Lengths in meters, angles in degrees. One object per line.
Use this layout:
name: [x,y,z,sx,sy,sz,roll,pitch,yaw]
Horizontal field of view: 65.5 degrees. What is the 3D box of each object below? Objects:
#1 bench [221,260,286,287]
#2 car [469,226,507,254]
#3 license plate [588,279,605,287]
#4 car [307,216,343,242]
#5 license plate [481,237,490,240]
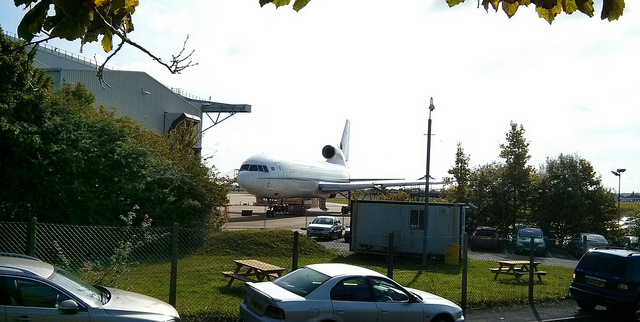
bench: [-3.185,5.389,24.007,1.888,0.848,1.791,2,-4,44]
car: [13.269,6.463,40.059,2.227,1.890,1.182,2,-8,7]
license plate: [12.734,5.689,22.933,0.631,0.298,0.094,-1,-9,24]
car: [0.355,5.570,40.817,1.827,1.954,2.949,0,-9,23]
license plate: [13.236,6.270,39.907,0.623,0.148,0.057,1,-8,14]
